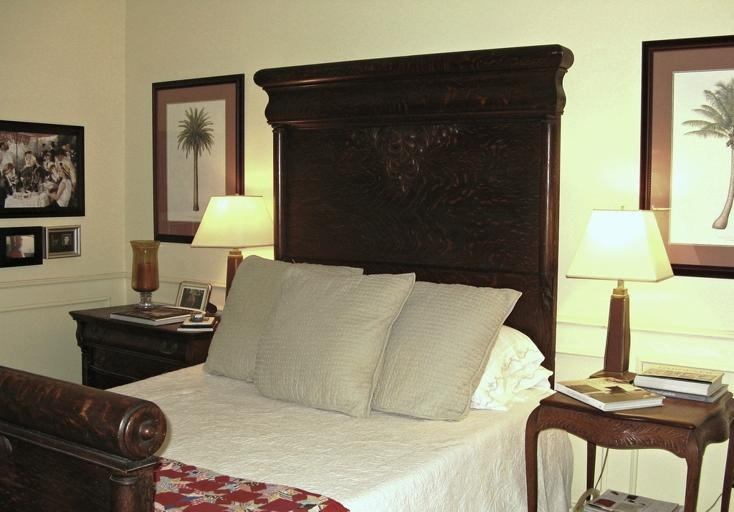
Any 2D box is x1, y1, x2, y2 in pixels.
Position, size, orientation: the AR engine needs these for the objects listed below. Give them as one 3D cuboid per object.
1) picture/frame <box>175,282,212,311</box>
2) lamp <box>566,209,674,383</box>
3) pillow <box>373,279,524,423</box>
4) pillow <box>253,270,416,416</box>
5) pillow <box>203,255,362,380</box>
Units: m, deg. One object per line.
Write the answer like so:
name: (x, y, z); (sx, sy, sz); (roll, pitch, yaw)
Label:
picture/frame: (-1.277, 0.314, 4.109); (0.185, 0.172, 0.025); (19, -4, 31)
lamp: (1.276, 0.193, 2.801); (0.379, 0.850, 0.387); (7, 11, 43)
pillow: (0.401, 0.484, 2.733); (0.667, 0.598, 0.177); (10, -22, 36)
pillow: (-0.108, 0.435, 2.765); (0.785, 0.667, 0.232); (4, -16, 33)
pillow: (-0.432, 0.430, 3.295); (0.218, 0.681, 0.784); (28, -17, -39)
